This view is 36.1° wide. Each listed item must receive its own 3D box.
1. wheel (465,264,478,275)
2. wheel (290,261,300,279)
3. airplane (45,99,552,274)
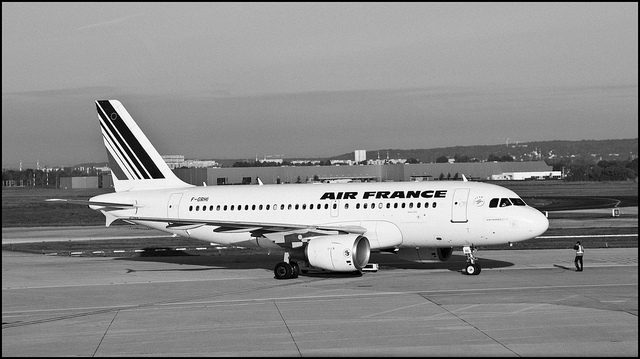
[{"bbox_3d":[11.187,6.688,72.813,0.894,0.706,0.533,0,14,11],"label":"wheel"},{"bbox_3d":[-1.950,6.842,73.658,0.643,1.057,1.065,-2,13,3],"label":"wheel"},{"bbox_3d":[-1.111,2.406,77.006,27.431,7.614,19.653,0,2,12],"label":"airplane"}]
